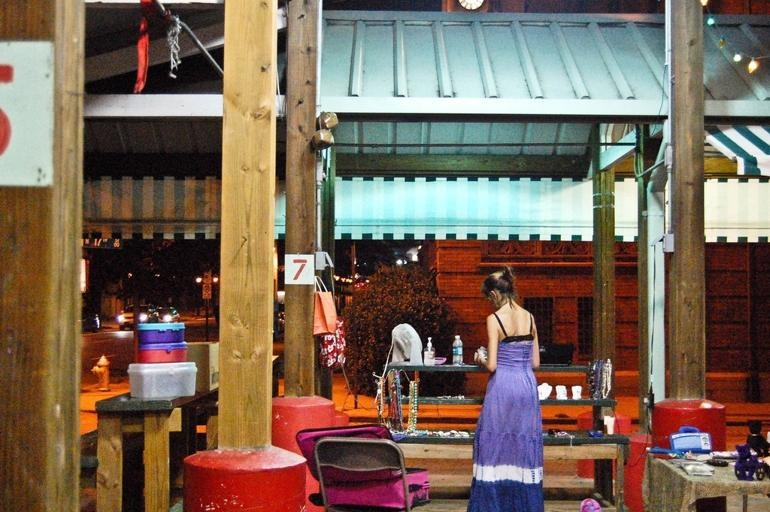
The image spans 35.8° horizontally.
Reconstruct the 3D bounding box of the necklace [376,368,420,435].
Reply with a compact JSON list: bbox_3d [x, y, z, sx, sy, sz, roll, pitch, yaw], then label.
[{"bbox_3d":[0.064,1.873,15.533,0.724,1.092,0.302,1,-1,-39],"label":"necklace"}]

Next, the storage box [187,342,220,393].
[{"bbox_3d":[-2.286,1.353,15.092,0.300,0.581,0.587,-2,2,9],"label":"storage box"}]

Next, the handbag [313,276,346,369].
[{"bbox_3d":[-0.725,0.845,15.459,0.343,1.170,0.646,-1,-4,0],"label":"handbag"}]
